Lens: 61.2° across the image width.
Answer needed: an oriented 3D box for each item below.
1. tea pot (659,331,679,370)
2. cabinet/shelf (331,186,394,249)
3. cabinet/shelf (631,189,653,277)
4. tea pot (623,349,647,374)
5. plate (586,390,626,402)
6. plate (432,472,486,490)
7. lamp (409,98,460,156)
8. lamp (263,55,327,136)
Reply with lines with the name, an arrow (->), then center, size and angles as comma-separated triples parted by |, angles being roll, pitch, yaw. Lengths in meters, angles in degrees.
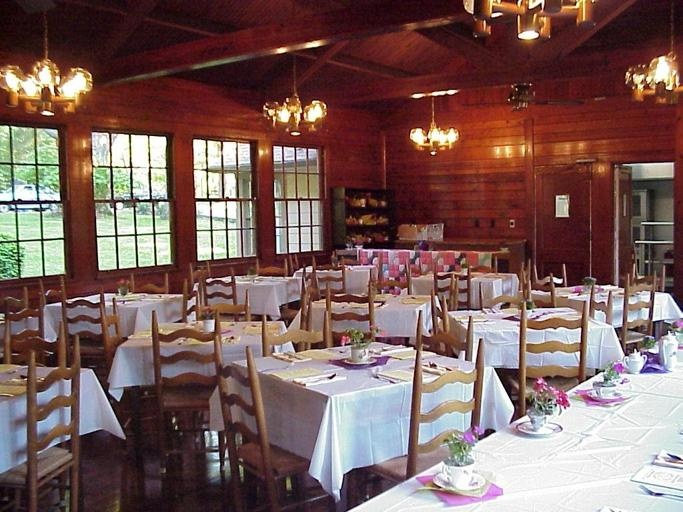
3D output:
tea pot -> 2.078, 0.618, 3.684 | 0.132, 0.231, 0.220 | 2, 0, 16
cabinet/shelf -> 0.389, -0.705, 11.559 | 1.348, 1.225, 0.336 | -2, 1, -22
cabinet/shelf -> 6.605, -0.484, 12.674 | 0.657, 1.923, 0.651 | 3, 9, 33
tea pot -> 1.852, 0.687, 3.716 | 0.178, 0.166, 0.111 | -3, 3, 8
plate -> 1.466, 0.786, 3.206 | 0.212, 0.028, 0.133 | -4, 2, 20
plate -> 0.487, 0.935, 2.389 | 0.218, 0.038, 0.114 | -4, 2, 2
lamp -> 1.627, -2.347, 10.315 | 0.829, 1.011, 0.772 | 1, 4, 21
lamp -> -0.646, -2.228, 7.845 | 0.874, 1.113, 0.768 | -2, 2, -12
